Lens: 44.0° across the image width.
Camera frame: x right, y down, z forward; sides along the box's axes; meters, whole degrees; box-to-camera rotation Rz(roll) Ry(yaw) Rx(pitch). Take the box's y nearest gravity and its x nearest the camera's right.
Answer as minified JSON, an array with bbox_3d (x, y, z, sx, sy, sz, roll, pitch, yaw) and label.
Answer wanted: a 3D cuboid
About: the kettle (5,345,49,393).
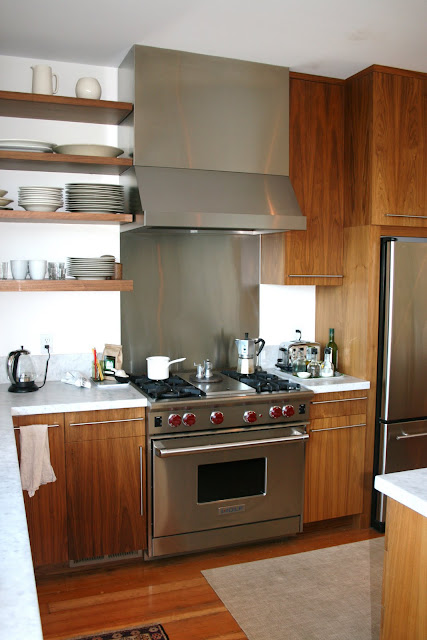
[{"bbox_3d":[-0.922,0.245,2.641,0.194,0.231,0.183,-2,4,-35],"label":"kettle"}]

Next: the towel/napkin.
[{"bbox_3d":[-0.761,0.597,2.271,0.149,0.289,0.052,-5,-3,-36],"label":"towel/napkin"}]

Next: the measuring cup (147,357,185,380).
[{"bbox_3d":[-0.255,0.248,2.799,0.190,0.140,0.114,6,-1,-11],"label":"measuring cup"}]

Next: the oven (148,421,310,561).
[{"bbox_3d":[-0.003,0.792,2.816,0.864,0.621,0.603,2,6,-26],"label":"oven"}]

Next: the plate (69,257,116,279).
[{"bbox_3d":[-0.615,-0.232,2.620,0.138,0.064,0.142,2,3,30],"label":"plate"}]

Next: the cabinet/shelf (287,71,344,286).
[{"bbox_3d":[0.538,-0.796,3.107,0.359,1.155,0.211,-6,14,-28],"label":"cabinet/shelf"}]

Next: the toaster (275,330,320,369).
[{"bbox_3d":[0.507,0.216,3.238,0.184,0.280,0.205,-1,11,-8],"label":"toaster"}]

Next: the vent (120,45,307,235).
[{"bbox_3d":[-0.031,-0.914,2.646,0.850,0.884,0.479,0,0,-21],"label":"vent"}]

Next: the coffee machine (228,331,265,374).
[{"bbox_3d":[0.207,0.184,3.002,0.167,0.224,0.113,0,5,-9],"label":"coffee machine"}]

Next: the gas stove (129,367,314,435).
[{"bbox_3d":[-0.040,0.357,3.097,1.111,0.228,0.952,-1,5,-20],"label":"gas stove"}]
